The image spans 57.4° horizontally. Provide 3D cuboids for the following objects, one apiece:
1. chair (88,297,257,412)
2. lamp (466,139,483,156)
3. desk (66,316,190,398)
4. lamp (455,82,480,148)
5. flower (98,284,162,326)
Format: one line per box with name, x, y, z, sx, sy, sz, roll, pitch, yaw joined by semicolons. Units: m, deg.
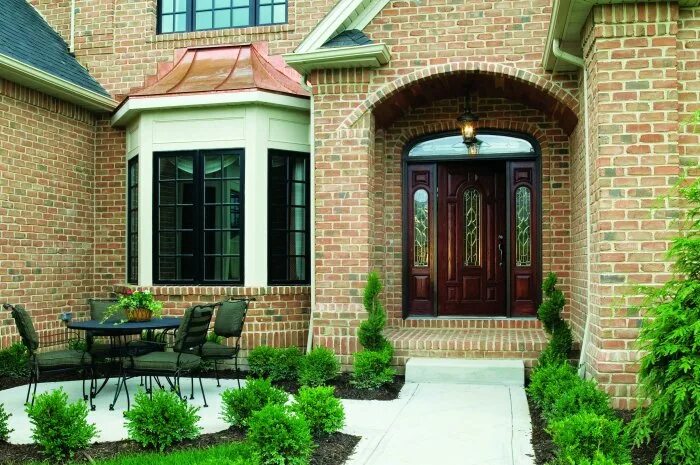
chair;-2.509;1.816;9.934;1.206;1.481;2.151;-3;-4;20
lamp;2.414;-1.633;12.422;0.328;0.246;0.321;2;-2;-25
desk;-3.601;2.080;10.204;1.901;0.971;1.068;-17;-9;29
lamp;2.243;-2.150;12.064;0.382;1.050;0.954;-3;-4;12
flower;-3.504;1.161;10.062;0.771;0.419;0.749;-1;0;-8
